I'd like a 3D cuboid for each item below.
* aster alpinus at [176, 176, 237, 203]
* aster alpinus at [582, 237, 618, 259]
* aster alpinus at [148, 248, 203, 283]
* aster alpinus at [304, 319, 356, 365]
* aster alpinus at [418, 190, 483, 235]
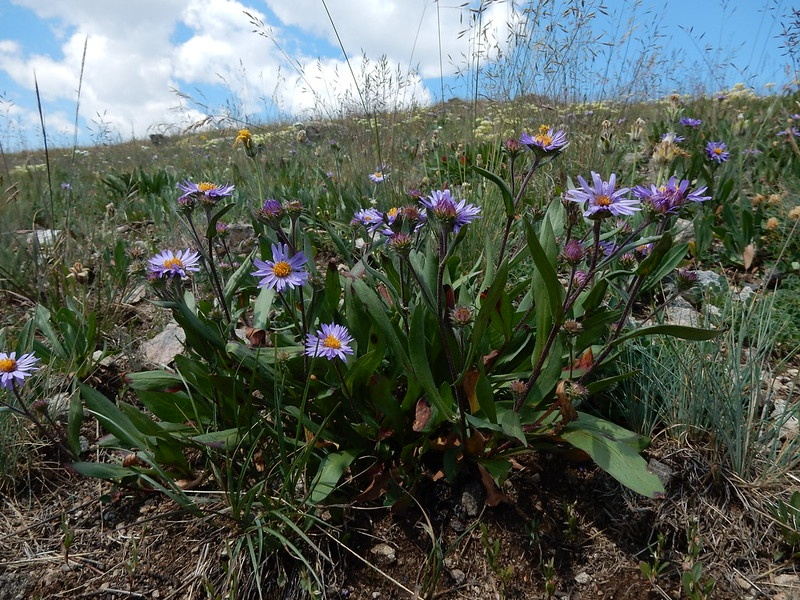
[{"bbox_3d":[-0.926,-0.507,2.517,0.200,0.104,0.207,9,13,43],"label":"aster alpinus"},{"bbox_3d":[0.971,-0.253,2.554,0.129,0.059,0.132,15,29,41],"label":"aster alpinus"},{"bbox_3d":[-0.969,-0.138,2.376,0.196,0.093,0.212,7,34,30],"label":"aster alpinus"},{"bbox_3d":[-0.305,0.190,2.268,0.213,0.127,0.191,7,26,18],"label":"aster alpinus"},{"bbox_3d":[0.203,-0.345,2.212,0.229,0.194,0.358,3,26,11],"label":"aster alpinus"}]
